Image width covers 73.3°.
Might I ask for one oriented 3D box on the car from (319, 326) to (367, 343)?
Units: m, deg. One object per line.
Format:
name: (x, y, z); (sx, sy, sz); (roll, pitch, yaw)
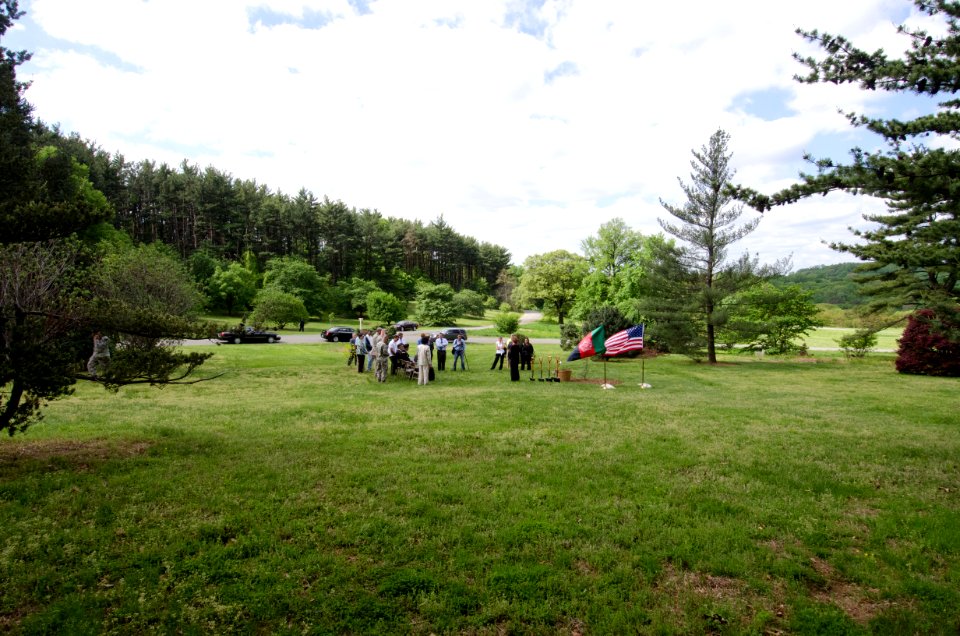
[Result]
car: (-9.536, 1.080, 44.331); (2.281, 0.684, 1.173); (-4, 7, -33)

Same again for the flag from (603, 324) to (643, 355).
flag: (5.608, 0.810, 25.342); (1.847, 1.357, 0.267); (3, 9, 32)

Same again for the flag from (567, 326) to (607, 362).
flag: (4.989, 1.142, 29.909); (2.468, 0.326, 2.160); (-9, -46, 17)

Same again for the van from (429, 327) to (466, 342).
van: (-2.190, 1.079, 51.940); (2.019, 0.871, 1.393); (6, -3, -6)
